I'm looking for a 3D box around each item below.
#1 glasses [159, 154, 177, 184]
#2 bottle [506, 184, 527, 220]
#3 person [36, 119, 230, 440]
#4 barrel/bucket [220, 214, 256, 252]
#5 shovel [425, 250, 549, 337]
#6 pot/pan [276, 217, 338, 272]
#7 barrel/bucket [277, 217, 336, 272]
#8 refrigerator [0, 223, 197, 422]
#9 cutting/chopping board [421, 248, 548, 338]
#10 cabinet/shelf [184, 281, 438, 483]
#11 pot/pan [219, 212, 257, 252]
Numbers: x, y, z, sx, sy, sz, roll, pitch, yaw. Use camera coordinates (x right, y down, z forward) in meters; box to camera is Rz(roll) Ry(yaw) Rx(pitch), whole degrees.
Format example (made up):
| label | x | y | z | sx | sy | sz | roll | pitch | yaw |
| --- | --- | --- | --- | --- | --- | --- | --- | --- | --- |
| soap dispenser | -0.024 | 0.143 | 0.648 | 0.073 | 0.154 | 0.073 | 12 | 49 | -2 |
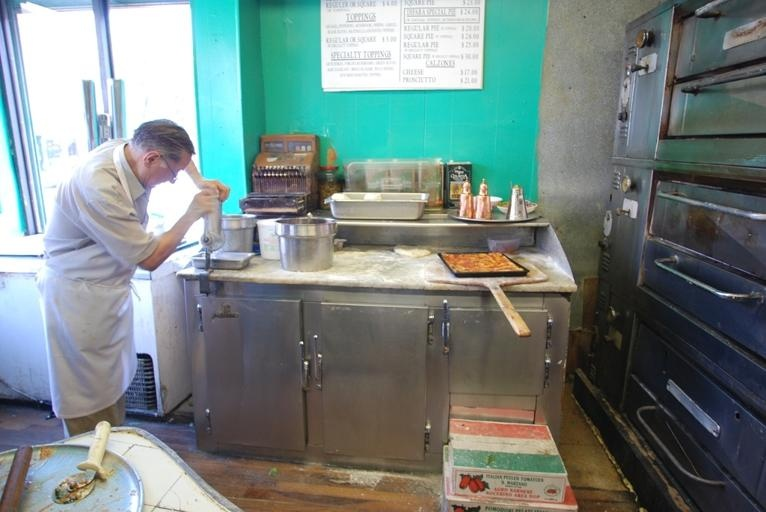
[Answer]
| label | x | y | z | sx | sy | sz | roll | pitch | yaw |
| --- | --- | --- | --- | --- | --- | --- | --- | --- | --- |
| glasses | -1.325 | -0.549 | 3.319 | 0.031 | 0.106 | 0.108 | -16 | -26 | 6 |
| bottle | 1.045 | -0.413 | 4.081 | 0.252 | 0.256 | 0.114 | -10 | 15 | -38 |
| person | -1.691 | 0.204 | 3.475 | 0.941 | 1.878 | 0.479 | -8 | 14 | -29 |
| barrel/bucket | -1.017 | -0.181 | 3.914 | 0.256 | 0.261 | 0.259 | 0 | 3 | 0 |
| shovel | 0.705 | 0.149 | 3.519 | 0.558 | 0.065 | 0.624 | 0 | 26 | -13 |
| pot/pan | -0.560 | -0.143 | 3.830 | 0.429 | 0.305 | 0.379 | -4 | 11 | -22 |
| barrel/bucket | -0.543 | -0.085 | 3.880 | 0.450 | 0.333 | 0.449 | 0 | 9 | 0 |
| refrigerator | -1.945 | 0.476 | 3.692 | 1.356 | 1.249 | 0.720 | 2 | 19 | 4 |
| cutting/chopping board | 0.724 | 0.125 | 3.523 | 0.559 | 0.072 | 0.626 | -1 | 27 | -13 |
| cabinet/shelf | -0.399 | 0.829 | 4.137 | 1.863 | 1.109 | 1.001 | 0 | 4 | 12 |
| pot/pan | -1.036 | -0.180 | 3.913 | 0.260 | 0.264 | 0.262 | 0 | 3 | -9 |
